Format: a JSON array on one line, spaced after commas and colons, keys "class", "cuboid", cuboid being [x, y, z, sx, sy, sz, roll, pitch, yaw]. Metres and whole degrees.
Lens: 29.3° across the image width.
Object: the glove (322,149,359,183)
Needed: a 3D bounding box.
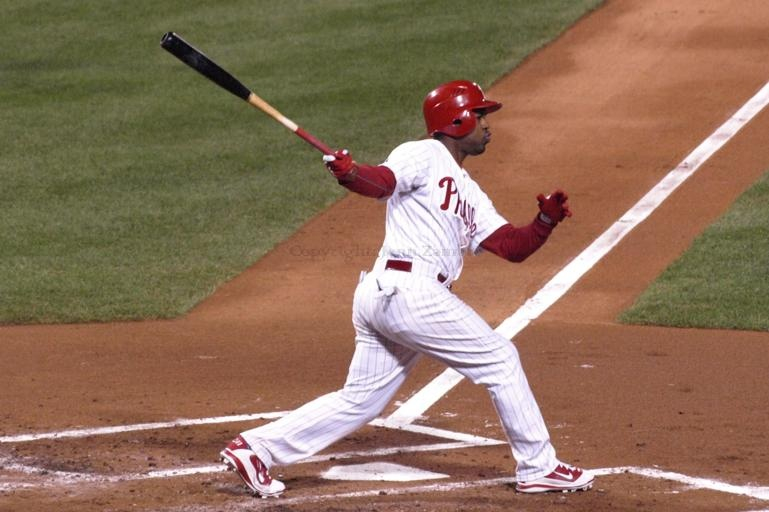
[{"class": "glove", "cuboid": [-0.428, -0.984, 15.384, 0.360, 0.258, 0.176, 32, 28, 14]}]
